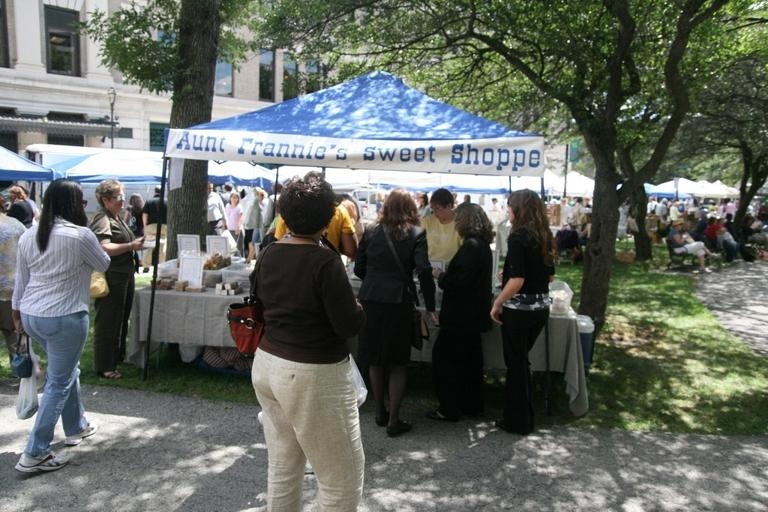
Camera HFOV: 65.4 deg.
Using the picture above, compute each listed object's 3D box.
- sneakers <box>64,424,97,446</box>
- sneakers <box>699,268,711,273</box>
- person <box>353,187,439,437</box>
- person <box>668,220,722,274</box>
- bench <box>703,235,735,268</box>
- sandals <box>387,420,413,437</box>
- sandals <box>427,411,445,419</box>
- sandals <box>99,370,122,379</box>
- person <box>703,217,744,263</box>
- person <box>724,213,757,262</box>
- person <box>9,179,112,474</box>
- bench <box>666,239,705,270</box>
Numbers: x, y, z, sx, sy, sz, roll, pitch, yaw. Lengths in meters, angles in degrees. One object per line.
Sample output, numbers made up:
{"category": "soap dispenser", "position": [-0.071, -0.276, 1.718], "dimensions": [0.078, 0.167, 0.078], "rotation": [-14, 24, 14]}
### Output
{"category": "sneakers", "position": [-3.329, 1.957, 6.603], "dimensions": [0.123, 0.133, 0.311], "rotation": [9, 16, 23]}
{"category": "sneakers", "position": [8.473, 0.378, 15.875], "dimensions": [0.319, 0.138, 0.108], "rotation": [-1, 8, -11]}
{"category": "person", "position": [0.077, 0.648, 6.812], "dimensions": [0.922, 2.728, 0.676], "rotation": [5, 15, 12]}
{"category": "person", "position": [8.304, -0.287, 16.271], "dimensions": [1.165, 1.484, 0.752], "rotation": [1, 5, 37]}
{"category": "bench", "position": [10.286, -0.124, 18.224], "dimensions": [0.840, 0.942, 0.713], "rotation": [4, 4, 43]}
{"category": "sandals", "position": [0.172, 1.969, 6.869], "dimensions": [0.308, 0.132, 0.129], "rotation": [-4, 4, -35]}
{"category": "sandals", "position": [0.630, 1.899, 7.193], "dimensions": [0.187, 0.076, 0.092], "rotation": [-2, -6, 26]}
{"category": "sandals", "position": [-3.560, 1.545, 7.837], "dimensions": [0.275, 0.067, 0.119], "rotation": [2, 21, 5]}
{"category": "person", "position": [10.276, -0.513, 18.210], "dimensions": [0.686, 1.550, 0.989], "rotation": [-2, -13, -37]}
{"category": "person", "position": [11.320, -0.528, 19.464], "dimensions": [0.523, 1.513, 0.935], "rotation": [17, 5, -13]}
{"category": "person", "position": [-3.397, 0.701, 6.134], "dimensions": [0.635, 2.876, 0.977], "rotation": [11, 17, 32]}
{"category": "bench", "position": [8.277, 0.185, 16.249], "dimensions": [0.655, 1.152, 1.711], "rotation": [-4, -2, 41]}
